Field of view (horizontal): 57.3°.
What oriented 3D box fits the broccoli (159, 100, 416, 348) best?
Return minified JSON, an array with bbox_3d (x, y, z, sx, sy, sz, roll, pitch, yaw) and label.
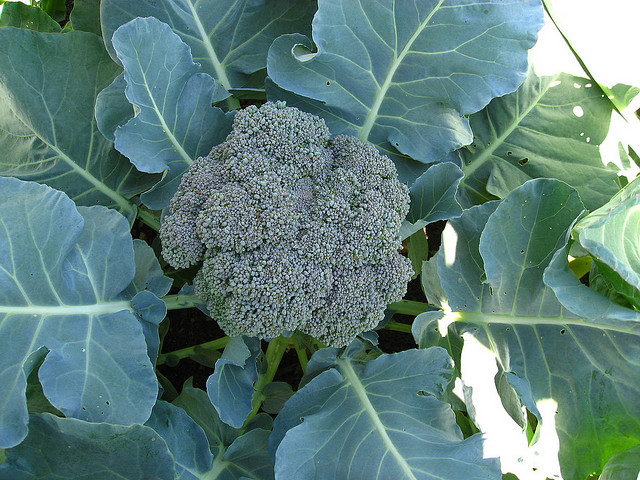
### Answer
[{"bbox_3d":[-0.080,-0.028,1.915,0.766,0.194,0.803,-43,87,-12],"label":"broccoli"}]
